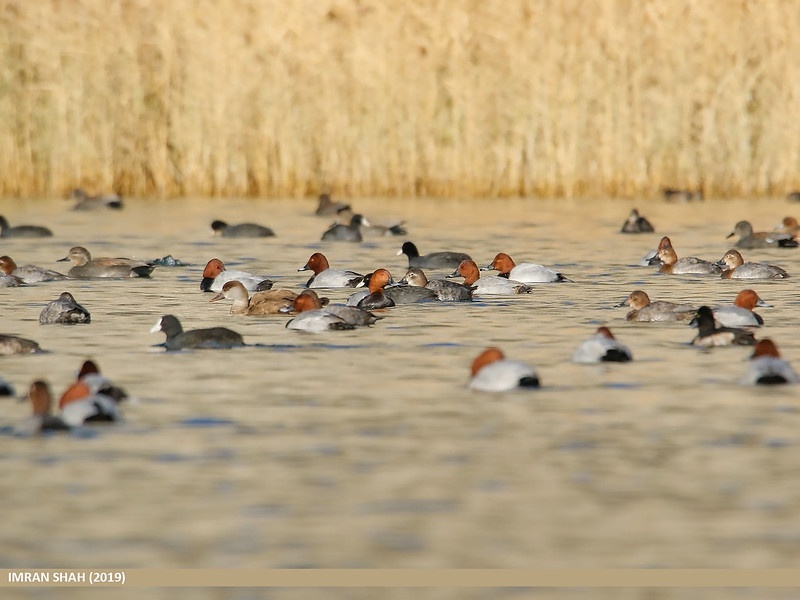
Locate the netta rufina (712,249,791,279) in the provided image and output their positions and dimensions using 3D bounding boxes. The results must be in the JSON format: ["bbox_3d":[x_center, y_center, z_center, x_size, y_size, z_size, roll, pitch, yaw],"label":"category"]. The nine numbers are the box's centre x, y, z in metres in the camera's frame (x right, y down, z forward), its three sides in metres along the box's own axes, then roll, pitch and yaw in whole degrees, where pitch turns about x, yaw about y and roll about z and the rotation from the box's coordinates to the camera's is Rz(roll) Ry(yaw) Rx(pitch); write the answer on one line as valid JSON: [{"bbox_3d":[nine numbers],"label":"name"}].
[{"bbox_3d":[5.688,-0.563,19.236,1.151,0.376,0.535,4,3,33],"label":"netta rufina"}]

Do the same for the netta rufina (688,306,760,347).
[{"bbox_3d":[3.528,0.318,12.872,0.497,0.413,0.708,-3,10,-22],"label":"netta rufina"}]

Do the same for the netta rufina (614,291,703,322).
[{"bbox_3d":[3.230,0.098,14.781,0.983,0.302,0.384,1,6,31],"label":"netta rufina"}]
